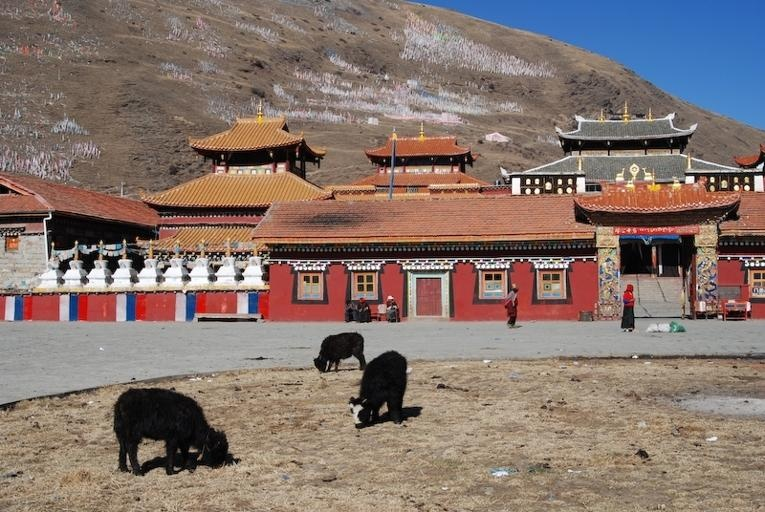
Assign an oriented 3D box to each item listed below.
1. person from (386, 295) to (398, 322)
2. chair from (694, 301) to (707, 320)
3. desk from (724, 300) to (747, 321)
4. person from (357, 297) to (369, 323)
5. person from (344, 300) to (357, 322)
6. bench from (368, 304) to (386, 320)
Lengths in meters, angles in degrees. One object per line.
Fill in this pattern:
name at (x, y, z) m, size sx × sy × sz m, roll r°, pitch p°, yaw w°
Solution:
person at (0.675, 4.030, 90.642) m, size 0.983 × 1.901 × 0.623 m, roll 2°, pitch -8°, yaw -12°
chair at (23.804, 4.061, 90.036) m, size 1.298 × 1.719 × 1.215 m, roll -2°, pitch -6°, yaw 20°
desk at (25.975, 4.044, 89.009) m, size 1.902 × 1.480 × 0.937 m, roll -1°, pitch -8°, yaw 8°
person at (-1.483, 4.087, 90.178) m, size 0.900 × 1.843 × 0.700 m, roll 2°, pitch -8°, yaw -14°
person at (-2.461, 4.172, 90.406) m, size 0.837 × 1.565 × 0.658 m, roll 1°, pitch -8°, yaw -3°
bench at (-0.405, 4.310, 91.274) m, size 1.310 × 1.639 × 1.202 m, roll 0°, pitch -5°, yaw 2°
